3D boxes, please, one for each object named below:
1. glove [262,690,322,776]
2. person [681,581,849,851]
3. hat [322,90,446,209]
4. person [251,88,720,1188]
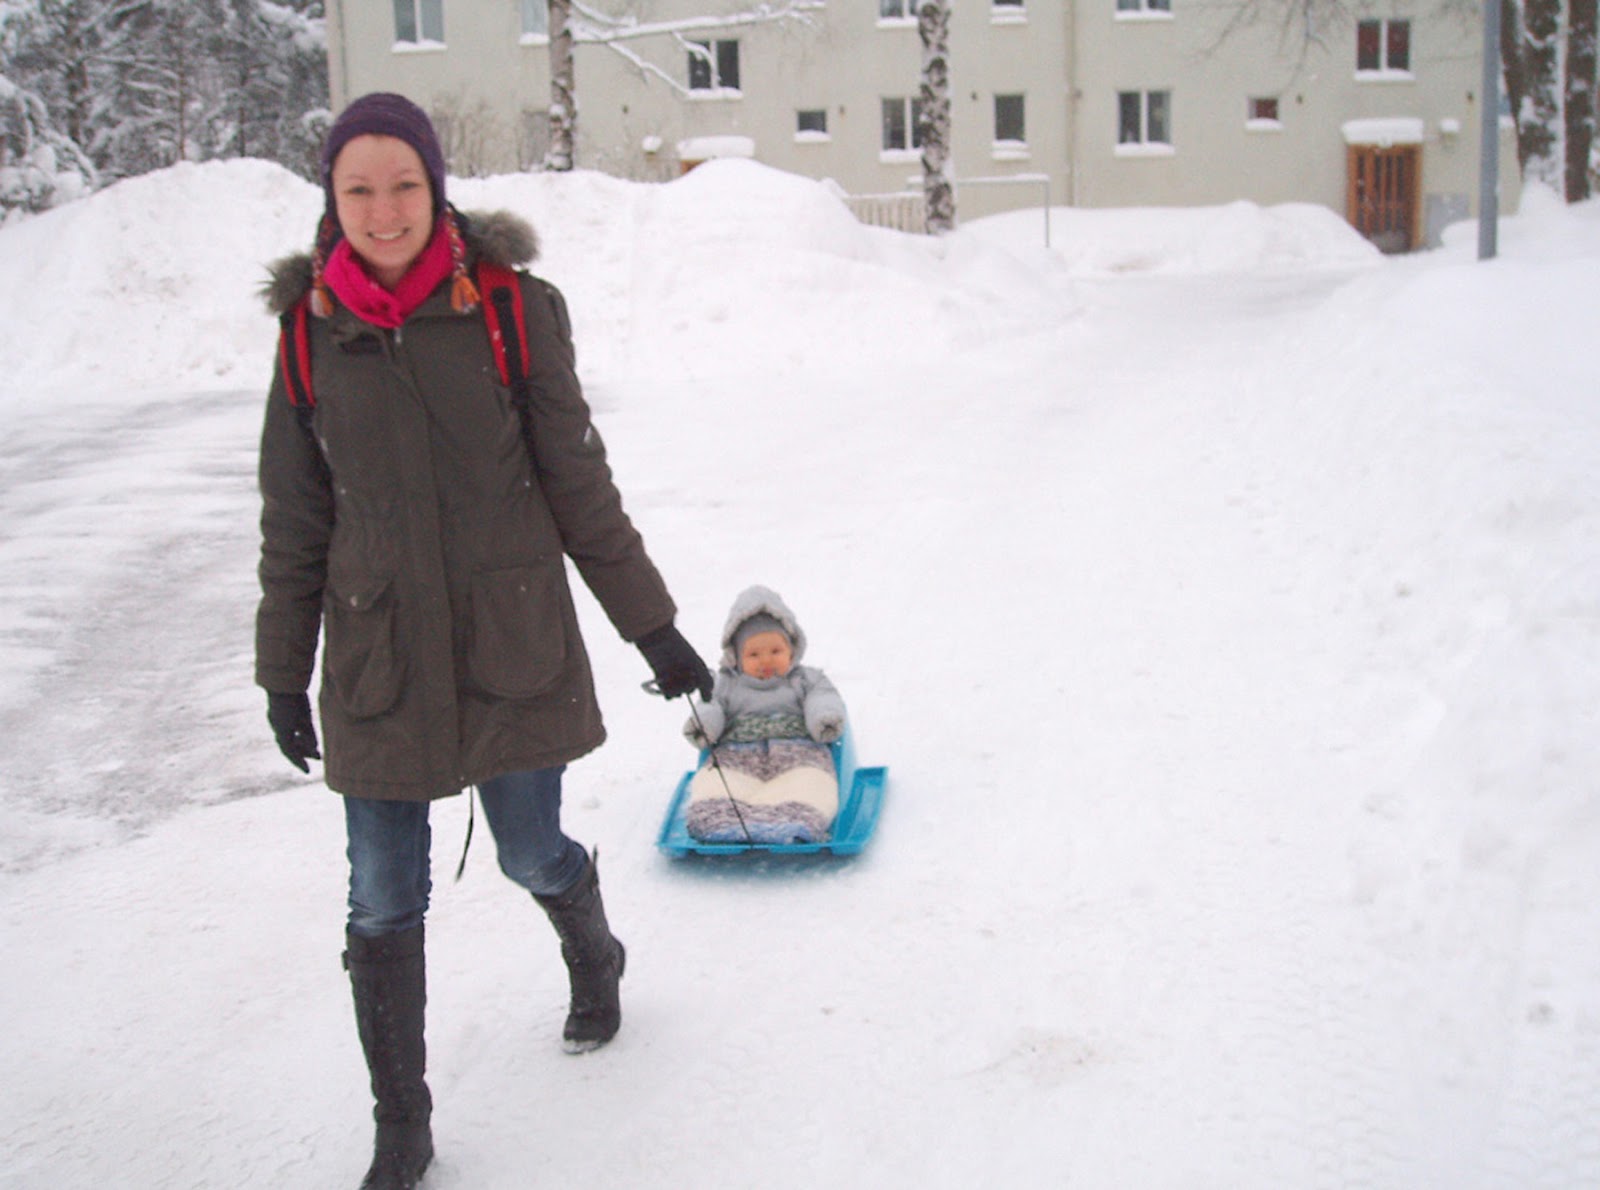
[{"bbox_3d":[-1.600,0.449,5.400,0.155,0.312,0.083,-8,16,-7],"label":"glove"},{"bbox_3d":[-0.138,0.483,7.286,0.530,0.563,1.117,-2,26,2],"label":"person"},{"bbox_3d":[-1.297,-1.364,5.241,0.358,0.340,0.237,-6,13,-15],"label":"hat"},{"bbox_3d":[-1.093,0.111,5.343,1.206,3.256,0.696,-7,13,-20],"label":"person"}]
